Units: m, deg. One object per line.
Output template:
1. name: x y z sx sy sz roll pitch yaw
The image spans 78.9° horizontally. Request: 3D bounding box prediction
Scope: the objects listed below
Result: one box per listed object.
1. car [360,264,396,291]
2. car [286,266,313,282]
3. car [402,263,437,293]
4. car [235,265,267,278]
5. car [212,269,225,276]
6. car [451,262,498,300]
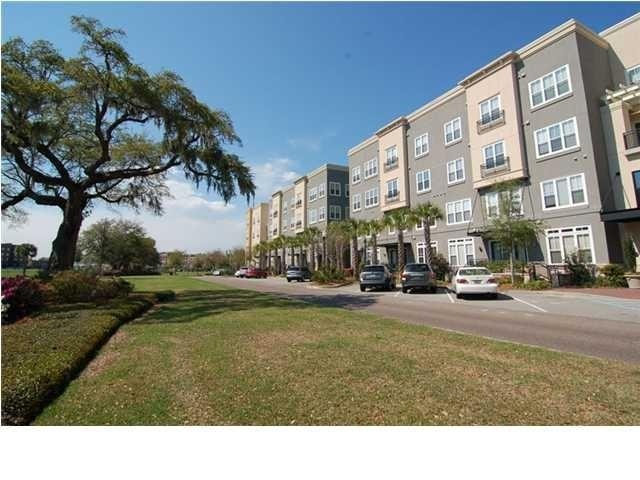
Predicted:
1. car: 3.709 2.516 24.768 1.775 1.779 2.060 3 8 27
2. car: -2.302 3.634 41.293 2.292 1.771 3.322 1 8 13
3. car: 5.794 2.297 22.534 1.812 1.888 2.068 3 9 28
4. car: -8.748 4.622 54.656 2.087 1.197 3.397 -7 -11 38
5. car: -18.815 6.059 72.697 2.661 0.948 1.770 -6 1 12
6. car: 7.549 2.117 19.803 1.135 1.005 2.947 -1 -1 8
